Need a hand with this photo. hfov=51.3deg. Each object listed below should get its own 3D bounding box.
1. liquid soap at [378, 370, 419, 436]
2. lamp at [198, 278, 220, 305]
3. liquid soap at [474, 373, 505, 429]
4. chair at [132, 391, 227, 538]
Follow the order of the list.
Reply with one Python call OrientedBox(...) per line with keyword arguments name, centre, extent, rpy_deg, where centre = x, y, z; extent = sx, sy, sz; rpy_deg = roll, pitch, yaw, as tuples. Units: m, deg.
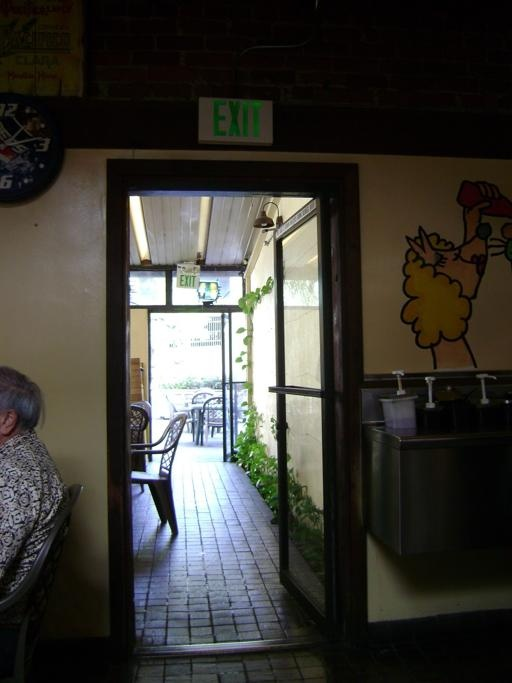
OrientedBox(name="liquid soap", centre=(0.591, 0.242, 2.247), extent=(0.142, 0.246, 0.156), rpy_deg=(-3, -4, -39))
OrientedBox(name="lamp", centre=(-0.704, -0.759, 8.109), extent=(0.301, 0.410, 0.270), rpy_deg=(0, 16, -3))
OrientedBox(name="liquid soap", centre=(0.993, 0.245, 2.268), extent=(0.112, 0.203, 0.344), rpy_deg=(1, 1, 23))
OrientedBox(name="chair", centre=(-0.652, 1.034, 4.419), extent=(0.699, 1.254, 0.703), rpy_deg=(2, -3, -12))
